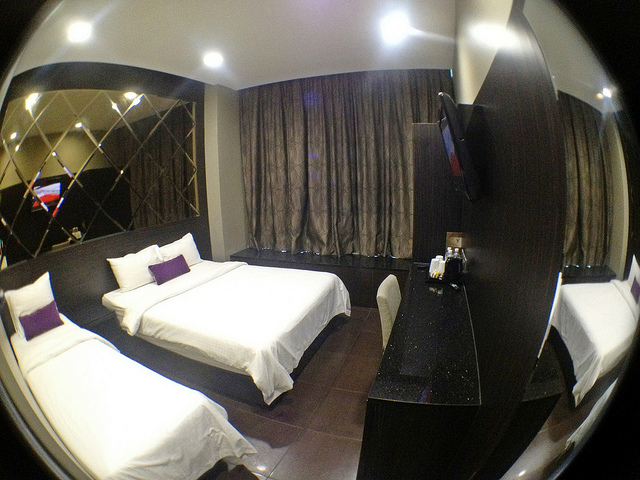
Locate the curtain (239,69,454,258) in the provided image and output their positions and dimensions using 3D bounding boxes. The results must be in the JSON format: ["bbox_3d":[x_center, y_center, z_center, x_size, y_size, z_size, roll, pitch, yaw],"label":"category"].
[{"bbox_3d":[0.053,-0.173,1.134,0.481,0.464,0.058,0,-16,-2],"label":"curtain"}]

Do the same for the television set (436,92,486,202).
[{"bbox_3d":[0.395,-0.256,1.228,0.080,0.258,0.246,-15,5,12],"label":"television set"}]

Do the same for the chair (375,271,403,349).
[{"bbox_3d":[0.267,0.259,1.719,0.097,0.255,0.466,0,14,10],"label":"chair"}]
